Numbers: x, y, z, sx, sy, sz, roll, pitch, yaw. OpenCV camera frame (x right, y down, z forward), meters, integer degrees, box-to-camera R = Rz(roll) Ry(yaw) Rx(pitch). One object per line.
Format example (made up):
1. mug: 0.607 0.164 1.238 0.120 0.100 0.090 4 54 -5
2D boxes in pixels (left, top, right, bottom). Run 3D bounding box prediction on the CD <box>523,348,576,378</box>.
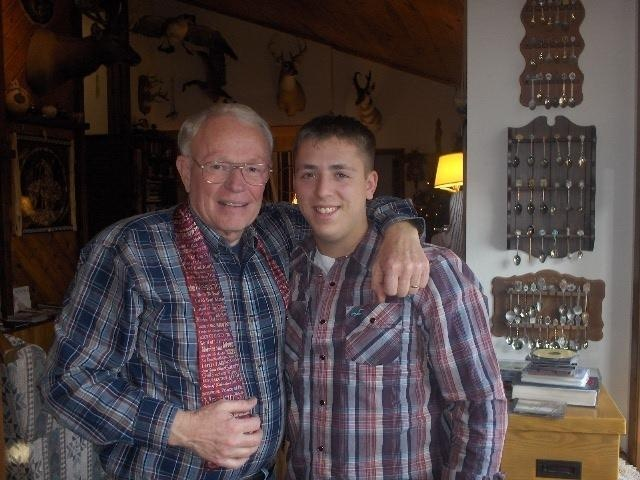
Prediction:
1. CD: 1.322 0.693 3.366 0.265 0.099 0.296 3 4 24
